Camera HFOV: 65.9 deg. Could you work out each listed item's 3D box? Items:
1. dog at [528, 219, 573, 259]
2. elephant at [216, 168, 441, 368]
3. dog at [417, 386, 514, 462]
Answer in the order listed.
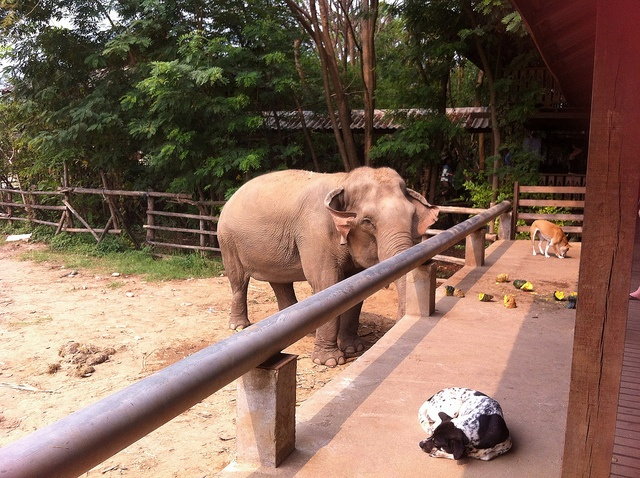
[{"bbox_3d":[3.616,-0.010,7.716,0.506,0.584,0.703,5,12,37],"label":"dog"},{"bbox_3d":[-0.004,0.302,7.031,3.201,2.604,1.721,6,10,35],"label":"elephant"},{"bbox_3d":[0.880,1.150,3.050,0.515,0.253,0.793,-6,4,7],"label":"dog"}]
